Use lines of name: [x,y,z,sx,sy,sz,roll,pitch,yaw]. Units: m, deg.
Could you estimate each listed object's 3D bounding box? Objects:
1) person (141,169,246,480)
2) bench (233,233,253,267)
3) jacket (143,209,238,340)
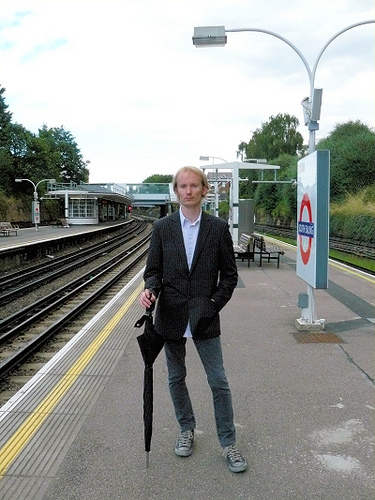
person: [0.012,0.384,2.233,0.634,1.736,0.655,0,-2,3]
bench: [2.214,-0.009,14.465,0.506,0.776,1.404,-1,3,1]
jacket: [0.027,0.144,2.212,0.587,0.810,0.290,0,-2,-7]
